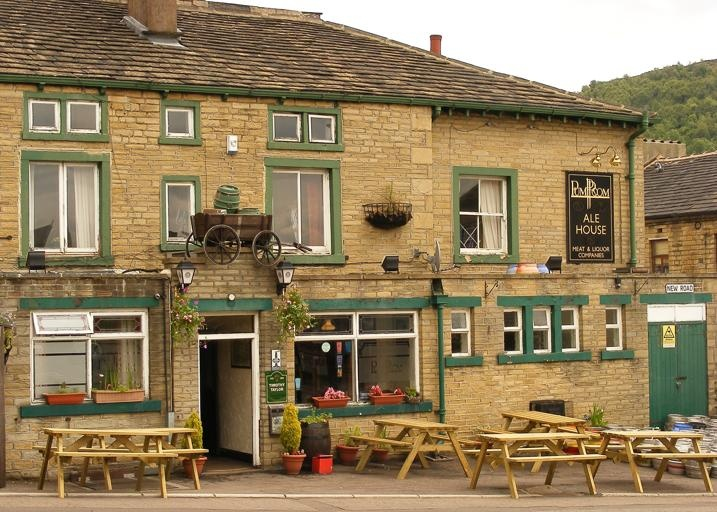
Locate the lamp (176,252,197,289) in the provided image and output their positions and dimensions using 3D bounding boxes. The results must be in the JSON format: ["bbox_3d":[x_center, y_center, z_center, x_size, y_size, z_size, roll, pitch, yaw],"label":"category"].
[{"bbox_3d":[-3.763,0.354,30.715,0.411,0.783,0.499,0,-5,-6],"label":"lamp"}]

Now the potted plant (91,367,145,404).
[{"bbox_3d":[-5.280,2.603,30.811,1.256,0.872,0.670,1,-2,-17],"label":"potted plant"}]

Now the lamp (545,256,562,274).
[{"bbox_3d":[4.762,0.189,34.232,0.399,0.370,0.394,-3,17,-3],"label":"lamp"}]

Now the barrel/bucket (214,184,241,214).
[{"bbox_3d":[-2.988,-1.275,31.303,0.617,0.599,0.597,4,4,0],"label":"barrel/bucket"}]

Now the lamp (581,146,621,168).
[{"bbox_3d":[6.146,-2.531,35.444,1.323,0.583,0.434,-2,5,-30],"label":"lamp"}]

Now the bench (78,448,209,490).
[{"bbox_3d":[-4.417,4.386,28.957,2.541,0.901,2.231,0,-5,-7],"label":"bench"}]

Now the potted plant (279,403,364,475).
[{"bbox_3d":[-1.174,4.009,31.009,1.077,1.523,0.581,1,-5,-12],"label":"potted plant"}]

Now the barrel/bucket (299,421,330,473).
[{"bbox_3d":[-0.941,4.121,30.965,0.929,1.190,0.936,0,-1,0],"label":"barrel/bucket"}]

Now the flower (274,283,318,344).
[{"bbox_3d":[-1.423,1.268,31.618,0.684,1.321,0.847,-4,-6,37],"label":"flower"}]

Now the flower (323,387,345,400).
[{"bbox_3d":[-0.553,3.120,32.039,0.303,0.168,0.294,9,-7,-42],"label":"flower"}]

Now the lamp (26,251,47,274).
[{"bbox_3d":[-6.954,0.096,30.518,0.422,0.497,0.544,-3,11,-19],"label":"lamp"}]

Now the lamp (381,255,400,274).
[{"bbox_3d":[0.745,0.179,32.781,0.336,0.349,0.459,3,-3,-4],"label":"lamp"}]

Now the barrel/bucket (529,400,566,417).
[{"bbox_3d":[4.482,3.719,33.531,0.680,0.430,0.401,2,-5,-31],"label":"barrel/bucket"}]

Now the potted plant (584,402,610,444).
[{"bbox_3d":[5.756,3.904,33.416,0.650,1.118,0.667,-1,-4,23],"label":"potted plant"}]
